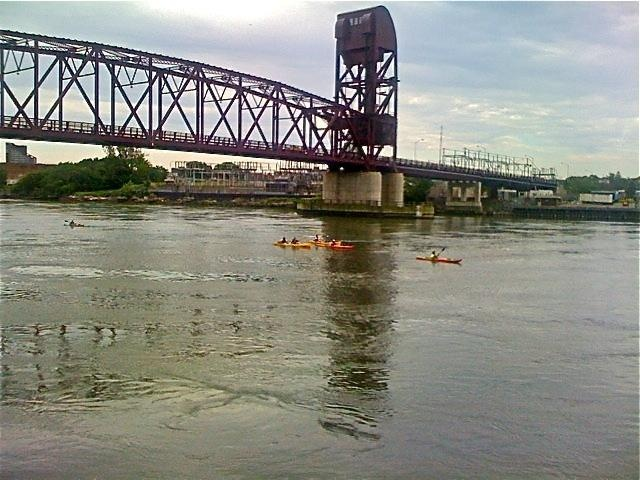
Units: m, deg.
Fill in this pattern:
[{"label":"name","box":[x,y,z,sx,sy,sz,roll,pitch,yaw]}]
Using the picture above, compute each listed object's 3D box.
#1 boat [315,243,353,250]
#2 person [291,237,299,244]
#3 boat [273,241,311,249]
[{"label":"boat","box":[1.062,0.464,47.812,3.320,0.394,0.811,7,7,40]},{"label":"person","box":[-1.966,0.021,50.449,0.581,0.766,0.306,0,-15,-12]},{"label":"boat","box":[-1.974,0.362,48.069,2.734,0.279,2.345,1,9,-2]}]
